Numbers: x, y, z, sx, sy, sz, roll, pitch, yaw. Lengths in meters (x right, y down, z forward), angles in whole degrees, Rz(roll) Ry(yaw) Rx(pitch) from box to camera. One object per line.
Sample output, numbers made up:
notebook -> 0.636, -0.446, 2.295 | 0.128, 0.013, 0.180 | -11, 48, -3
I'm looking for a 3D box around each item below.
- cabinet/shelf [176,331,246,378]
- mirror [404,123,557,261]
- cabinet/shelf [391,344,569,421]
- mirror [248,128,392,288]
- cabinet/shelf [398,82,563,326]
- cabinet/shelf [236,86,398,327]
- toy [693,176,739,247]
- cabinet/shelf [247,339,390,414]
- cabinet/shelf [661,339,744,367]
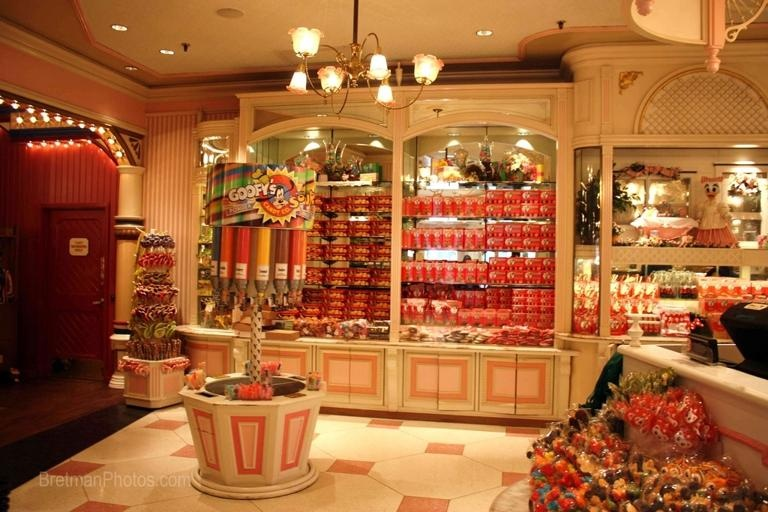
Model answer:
cabinet/shelf -> -2.253, 1.300, 7.382 | 0.922, 0.752, 0.312 | -1, -1, 13
mirror -> 1.271, -0.733, 7.939 | 2.228, 1.806, 0.669 | -3, 10, -19
cabinet/shelf -> 1.206, 1.582, 7.182 | 2.109, 0.774, 0.486 | 0, -10, 12
mirror -> -0.707, -0.573, 6.910 | 2.508, 2.126, 0.772 | 1, 2, 9
cabinet/shelf -> 1.252, -0.466, 7.573 | 2.084, 2.615, 0.685 | 2, 7, 9
cabinet/shelf -> -1.178, -0.222, 7.996 | 2.627, 3.718, 1.243 | 1, 0, -37
toy -> 4.080, -0.542, 6.837 | 0.470, 0.853, 0.324 | 3, 8, 19
cabinet/shelf -> -0.850, 1.544, 7.506 | 1.939, 0.845, 0.460 | -2, 11, 22
cabinet/shelf -> 2.547, 0.747, 4.384 | 0.355, 0.109, 0.365 | 0, 0, -25
